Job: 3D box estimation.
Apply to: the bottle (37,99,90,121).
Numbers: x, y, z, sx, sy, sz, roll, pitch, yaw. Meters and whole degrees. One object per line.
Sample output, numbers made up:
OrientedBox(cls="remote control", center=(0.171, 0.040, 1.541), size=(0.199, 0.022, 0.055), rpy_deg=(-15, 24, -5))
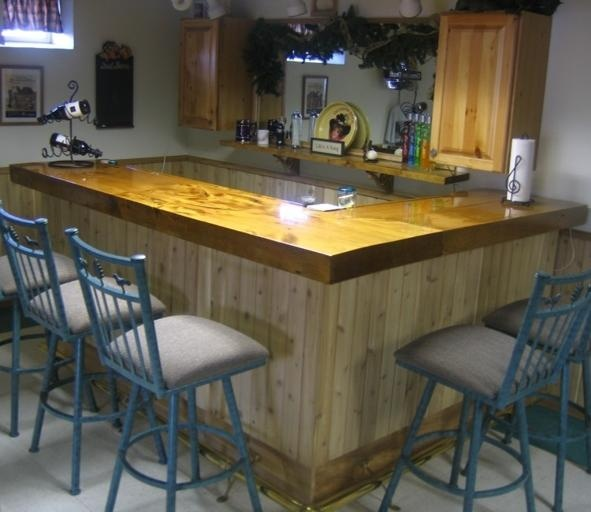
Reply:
OrientedBox(cls="bottle", center=(-1.408, -0.882, 3.124), size=(0.265, 0.121, 0.387), rpy_deg=(-7, 17, -26))

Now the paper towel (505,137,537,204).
OrientedBox(cls="paper towel", center=(1.175, -0.446, 2.696), size=(0.120, 0.334, 0.189), rpy_deg=(6, 17, 21))

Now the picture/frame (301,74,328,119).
OrientedBox(cls="picture/frame", center=(0.157, -1.280, 4.092), size=(0.034, 0.433, 0.296), rpy_deg=(-15, 25, -42))

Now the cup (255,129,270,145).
OrientedBox(cls="cup", center=(-0.300, -0.991, 4.295), size=(0.120, 0.138, 0.117), rpy_deg=(1, 18, 0))

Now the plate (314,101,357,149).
OrientedBox(cls="plate", center=(0.311, -1.009, 3.929), size=(0.067, 0.345, 0.328), rpy_deg=(0, 13, -39))

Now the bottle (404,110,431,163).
OrientedBox(cls="bottle", center=(0.812, -0.797, 3.490), size=(0.184, 0.339, 0.121), rpy_deg=(8, 17, 25))

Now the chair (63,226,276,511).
OrientedBox(cls="chair", center=(-0.485, 0.482, 2.104), size=(0.739, 1.474, 0.585), rpy_deg=(-16, 29, -39))
